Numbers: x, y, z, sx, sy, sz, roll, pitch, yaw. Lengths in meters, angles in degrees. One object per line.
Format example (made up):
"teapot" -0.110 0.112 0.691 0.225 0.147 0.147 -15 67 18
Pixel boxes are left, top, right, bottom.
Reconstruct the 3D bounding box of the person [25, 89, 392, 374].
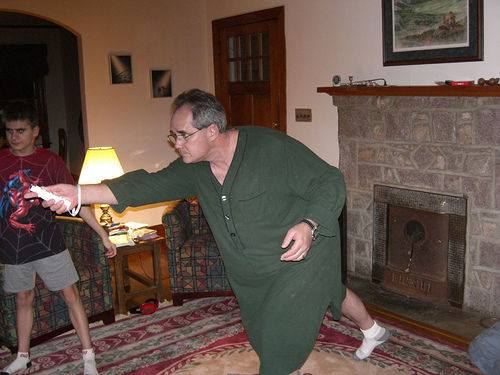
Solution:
"person" -0.064 0.245 1.934 1.460 1.487 0.749 -2 11 6

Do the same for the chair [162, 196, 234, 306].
"chair" -0.413 0.563 3.711 0.896 1.017 0.864 -4 8 -20

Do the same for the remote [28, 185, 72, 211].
"remote" -0.913 0.030 1.725 0.240 0.073 0.070 28 -20 -27

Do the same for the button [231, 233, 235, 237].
"button" -0.086 0.236 1.871 0.017 0.018 0.004 -1 9 7

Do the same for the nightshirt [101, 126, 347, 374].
"nightshirt" -0.015 0.330 1.955 0.986 1.255 0.512 2 12 21

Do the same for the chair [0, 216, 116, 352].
"chair" -1.592 0.723 3.168 0.949 0.998 0.937 2 6 45

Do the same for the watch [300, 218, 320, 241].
"watch" 0.272 0.190 1.703 0.053 0.101 0.094 4 14 31

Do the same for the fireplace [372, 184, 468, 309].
"fireplace" 1.600 0.546 3.435 0.308 1.050 0.959 -5 9 -42
